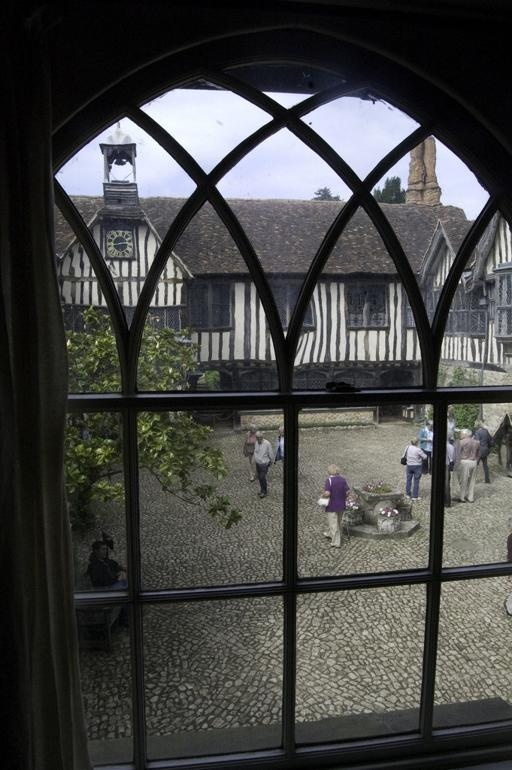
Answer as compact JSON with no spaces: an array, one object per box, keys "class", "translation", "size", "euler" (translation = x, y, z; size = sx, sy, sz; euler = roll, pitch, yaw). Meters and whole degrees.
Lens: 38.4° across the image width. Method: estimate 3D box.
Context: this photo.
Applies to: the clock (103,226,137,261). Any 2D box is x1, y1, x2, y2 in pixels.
[{"class":"clock","translation":[-0.511,-0.524,2.729],"size":[0.167,0.154,0.020],"euler":[-7,9,-22]}]
